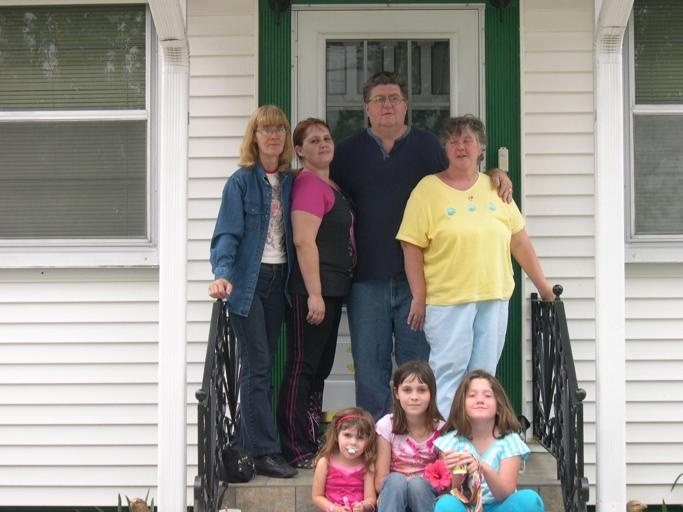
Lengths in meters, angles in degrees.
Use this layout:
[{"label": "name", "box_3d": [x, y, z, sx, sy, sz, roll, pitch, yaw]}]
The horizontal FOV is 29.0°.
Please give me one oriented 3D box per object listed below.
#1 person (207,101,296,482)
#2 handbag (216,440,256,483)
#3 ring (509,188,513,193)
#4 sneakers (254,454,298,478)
[{"label": "person", "box_3d": [-0.589, 0.231, 8.874, 0.573, 2.487, 0.340, -1, -2, -6]}, {"label": "handbag", "box_3d": [-0.703, 1.382, 8.768, 0.225, 0.237, 0.170, 1, -2, 10]}, {"label": "ring", "box_3d": [1.151, -0.456, 9.002, 0.035, 0.021, 0.052, -5, 25, 11]}, {"label": "sneakers", "box_3d": [-0.454, 1.398, 8.871, 0.329, 0.144, 0.124, 0, 3, 20]}]
